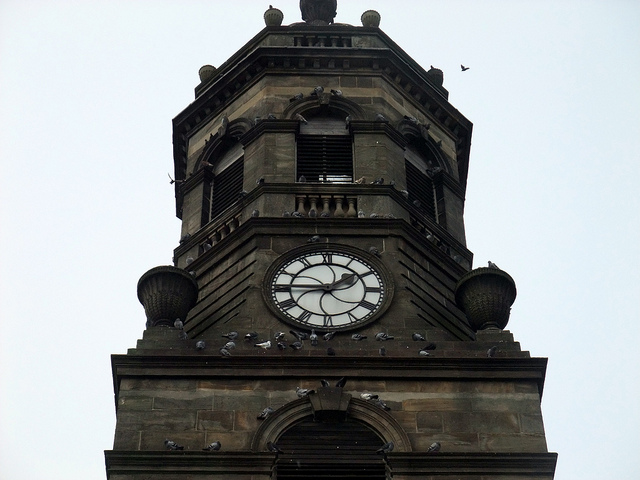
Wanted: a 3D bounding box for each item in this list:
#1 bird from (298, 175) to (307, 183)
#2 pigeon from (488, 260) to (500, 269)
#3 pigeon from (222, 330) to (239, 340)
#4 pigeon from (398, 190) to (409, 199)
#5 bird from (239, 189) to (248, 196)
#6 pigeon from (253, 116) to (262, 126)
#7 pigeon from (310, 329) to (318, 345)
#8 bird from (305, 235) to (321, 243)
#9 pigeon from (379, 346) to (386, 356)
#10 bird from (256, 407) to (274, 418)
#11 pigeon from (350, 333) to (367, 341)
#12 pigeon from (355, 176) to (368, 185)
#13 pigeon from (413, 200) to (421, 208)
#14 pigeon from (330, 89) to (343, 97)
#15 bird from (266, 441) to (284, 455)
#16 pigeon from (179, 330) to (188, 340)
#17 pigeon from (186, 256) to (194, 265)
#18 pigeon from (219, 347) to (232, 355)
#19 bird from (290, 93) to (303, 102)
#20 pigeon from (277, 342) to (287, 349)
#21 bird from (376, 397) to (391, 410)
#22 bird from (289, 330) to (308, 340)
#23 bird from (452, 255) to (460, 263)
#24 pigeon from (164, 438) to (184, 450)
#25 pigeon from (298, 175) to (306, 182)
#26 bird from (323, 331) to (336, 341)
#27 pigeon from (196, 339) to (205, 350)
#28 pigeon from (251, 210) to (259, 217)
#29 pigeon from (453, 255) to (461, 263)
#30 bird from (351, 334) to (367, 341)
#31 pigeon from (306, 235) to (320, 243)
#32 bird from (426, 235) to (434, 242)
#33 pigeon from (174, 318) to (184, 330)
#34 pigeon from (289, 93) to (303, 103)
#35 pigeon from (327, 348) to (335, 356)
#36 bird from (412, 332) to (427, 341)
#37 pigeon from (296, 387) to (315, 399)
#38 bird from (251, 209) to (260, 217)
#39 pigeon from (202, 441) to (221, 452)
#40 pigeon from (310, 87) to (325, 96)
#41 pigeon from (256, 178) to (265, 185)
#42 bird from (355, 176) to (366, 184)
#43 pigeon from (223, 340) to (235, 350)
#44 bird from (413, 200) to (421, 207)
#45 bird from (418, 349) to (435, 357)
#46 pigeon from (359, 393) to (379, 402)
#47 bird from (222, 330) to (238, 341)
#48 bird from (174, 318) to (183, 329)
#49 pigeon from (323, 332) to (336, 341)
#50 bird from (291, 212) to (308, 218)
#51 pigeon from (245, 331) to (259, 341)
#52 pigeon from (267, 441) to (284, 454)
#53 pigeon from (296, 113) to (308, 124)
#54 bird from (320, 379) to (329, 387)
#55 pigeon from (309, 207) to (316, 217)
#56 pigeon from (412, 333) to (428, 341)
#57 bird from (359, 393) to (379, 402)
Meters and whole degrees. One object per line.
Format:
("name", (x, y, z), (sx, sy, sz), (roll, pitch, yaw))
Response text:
("bird", (-0.441, -1.718, 46.325), (0.216, 0.284, 0.152), (1, -65, 3))
("pigeon", (3.385, 0.521, 33.045), (0.135, 0.068, 0.181), (-3, -94, -33))
("pigeon", (-2.156, 2.375, 41.482), (0.289, 0.172, 0.130), (8, -77, 18))
("pigeon", (2.352, -1.279, 46.809), (0.053, 0.220, 0.206), (-33, -88, 13))
("bird", (-2.056, -1.332, 46.683), (0.127, 0.064, 0.174), (12, -22, -19))
("pigeon", (-1.771, -3.514, 49.046), (0.163, 0.719, 0.175), (-14, -79, 8))
("pigeon", (-0.124, 2.450, 41.559), (0.121, 0.313, 0.128), (10, -72, -6))
("bird", (-0.103, 0.001, 44.435), (0.264, 0.193, 0.099), (-21, -70, -5))
("pigeon", (1.538, 2.743, 40.874), (0.157, 0.183, 0.204), (-4, -54, 1))
("bird", (-1.244, 4.132, 39.576), (0.315, 0.186, 0.115), (-41, -22, 9))
("pigeon", (0.971, 2.447, 41.696), (0.161, 0.159, 0.421), (-6, -7, 38))
("pigeon", (1.179, -1.672, 46.801), (0.212, 0.306, 0.114), (0, -102, -5))
("pigeon", (2.733, -1.043, 47.366), (0.187, 0.061, 0.195), (3, -90, -20))
("pigeon", (0.524, -4.437, 49.817), (0.275, 0.207, 0.105), (27, -56, 30))
("bird", (-0.954, 4.908, 39.050), (0.163, 0.213, 0.508), (-27, -42, 33))
("pigeon", (-3.333, 2.369, 41.599), (0.184, 0.336, 0.188), (-1, -94, -3))
("pigeon", (-3.487, 0.572, 46.140), (0.121, 0.209, 0.213), (0, -69, -15))
("pigeon", (-2.287, 2.737, 40.787), (0.143, 0.189, 0.072), (-14, -48, -30))
("bird", (-0.646, -4.265, 49.630), (0.335, 0.199, 0.175), (-30, -13, -15))
("pigeon", (-0.879, 2.605, 41.165), (0.235, 0.275, 0.144), (5, -54, -5))
("bird", (1.518, 3.992, 39.862), (0.141, 0.167, 0.430), (-26, -98, 7))
("bird", (-0.492, 2.381, 41.693), (0.132, 0.334, 0.209), (9, -67, -45))
("bird", (3.791, 0.548, 46.932), (0.178, 0.048, 0.174), (0, -100, 3))
("pigeon", (-3.360, 4.782, 38.723), (0.302, 0.189, 0.171), (20, -46, 21))
("pigeon", (-0.451, -1.708, 46.320), (0.193, 0.228, 0.131), (21, -46, -12))
("bird", (0.272, 2.344, 41.678), (0.359, 0.108, 0.149), (-50, -33, -25))
("pigeon", (-2.879, 2.586, 41.004), (0.152, 0.073, 0.217), (0, -93, -20))
("pigeon", (-1.698, -0.724, 45.382), (0.180, 0.068, 0.216), (1, -86, -3))
("pigeon", (3.857, 0.519, 47.125), (0.142, 0.271, 0.151), (-3, -98, 2))
("bird", (0.980, 2.443, 41.709), (0.390, 0.163, 0.148), (0, -87, -44))
("pigeon", (-0.115, -0.020, 44.429), (0.242, 0.146, 0.098), (-19, -59, -1))
("bird", (3.085, -0.055, 46.637), (0.149, 0.281, 0.159), (-3, -89, 1))
("pigeon", (-3.488, 2.141, 42.174), (0.190, 0.098, 0.281), (-2, -90, -8))
("pigeon", (-0.644, -4.287, 49.639), (0.369, 0.217, 0.197), (-26, -48, -8))
("pigeon", (0.295, 2.758, 40.945), (0.129, 0.150, 0.158), (-3, -95, 4))
("bird", (2.428, 2.411, 41.776), (0.172, 0.248, 0.102), (14, -79, -15))
("pigeon", (-0.340, 3.678, 40.063), (0.263, 0.188, 0.201), (-26, -27, 24))
("bird", (-1.693, -0.737, 45.434), (0.181, 0.082, 0.240), (1, -91, -10))
("pigeon", (-2.470, 4.807, 38.617), (0.487, 0.152, 0.214), (3, -89, 34))
("pigeon", (-0.015, -4.498, 49.703), (0.306, 0.228, 0.152), (-30, -65, -21))
("pigeon", (-1.597, -1.653, 46.654), (0.168, 0.075, 0.176), (6, -22, 37))
("bird", (1.178, -1.647, 46.689), (0.169, 0.228, 0.245), (2, -69, -40))
("pigeon", (-2.150, 2.608, 41.083), (0.192, 0.077, 0.148), (-18, -55, -2))
("bird", (2.752, -1.054, 47.392), (0.151, 0.067, 0.206), (-1, -41, 1))
("bird", (2.567, 2.796, 40.857), (0.222, 0.174, 0.127), (-5, -41, 0))
("pigeon", (1.193, 3.796, 39.961), (0.416, 0.170, 0.158), (4, -25, 0))
("bird", (-2.156, 2.404, 41.482), (0.282, 0.174, 0.131), (2, -70, 5))
("bird", (-3.496, 2.130, 42.185), (0.183, 0.079, 0.250), (-3, -91, -8))
("pigeon", (0.254, 2.370, 41.656), (0.098, 0.298, 0.128), (22, -33, 29))
("bird", (-0.533, -0.665, 45.235), (0.248, 0.192, 0.111), (5, -67, -16))
("pigeon", (-1.597, 2.406, 41.507), (0.240, 0.186, 0.104), (-7, -78, -44))
("pigeon", (-1.030, 4.864, 38.970), (0.500, 0.200, 0.157), (30, -46, -34))
("pigeon", (-0.488, -3.610, 48.859), (0.071, 0.282, 0.277), (-34, -24, 31))
("bird", (0.147, 3.466, 40.241), (0.122, 0.053, 0.181), (2, -81, 15))
("pigeon", (-0.162, -0.758, 45.292), (0.144, 0.215, 0.097), (3, -26, -2))
("pigeon", (2.453, 2.451, 41.736), (0.228, 0.170, 0.100), (24, -96, -16))
("bird", (1.209, 3.807, 40.019), (0.385, 0.167, 0.151), (3, -70, 9))
